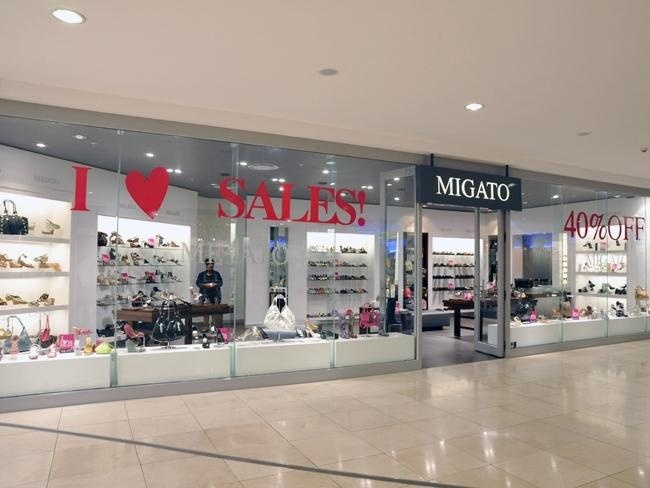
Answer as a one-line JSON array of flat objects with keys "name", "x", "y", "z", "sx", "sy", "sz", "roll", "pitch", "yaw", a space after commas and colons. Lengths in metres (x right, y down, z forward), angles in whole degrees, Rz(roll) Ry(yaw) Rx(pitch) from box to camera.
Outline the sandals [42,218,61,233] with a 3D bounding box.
[{"name": "sandals", "x": -3.835, "y": -0.262, "z": 6.682, "sx": 0.216, "sy": 0.213, "sz": 0.190, "roll": 1, "pitch": 6, "yaw": 19}]

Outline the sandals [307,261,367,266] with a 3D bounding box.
[{"name": "sandals", "x": 0.121, "y": 0.301, "z": 7.347, "sx": 0.606, "sy": 0.088, "sz": 0.021, "roll": 0, "pitch": 6, "yaw": -16}]

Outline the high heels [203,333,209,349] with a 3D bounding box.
[{"name": "high heels", "x": -1.638, "y": 1.327, "z": 6.571, "sx": 0.071, "sy": 0.205, "sz": 0.074, "roll": -1, "pitch": -6, "yaw": -28}]

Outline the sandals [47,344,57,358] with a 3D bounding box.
[{"name": "sandals", "x": -3.400, "y": 1.332, "z": 5.975, "sx": 0.061, "sy": 0.046, "sz": 0.166, "roll": 9, "pitch": 31, "yaw": -30}]

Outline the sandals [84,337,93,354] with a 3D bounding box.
[{"name": "sandals", "x": -3.021, "y": 1.303, "z": 6.141, "sx": 0.098, "sy": 0.191, "sz": 0.131, "roll": 0, "pitch": 4, "yaw": -8}]

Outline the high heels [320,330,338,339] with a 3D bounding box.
[{"name": "high heels", "x": 0.054, "y": 1.373, "z": 7.274, "sx": 0.185, "sy": 0.082, "sz": 0.142, "roll": 4, "pitch": -6, "yaw": -33}]

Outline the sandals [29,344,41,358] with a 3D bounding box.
[{"name": "sandals", "x": -3.593, "y": 1.327, "z": 5.926, "sx": 0.115, "sy": 0.132, "sz": 0.179, "roll": -2, "pitch": 5, "yaw": -29}]

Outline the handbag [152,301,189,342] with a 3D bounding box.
[{"name": "handbag", "x": -2.119, "y": 1.056, "z": 6.473, "sx": 0.510, "sy": 0.674, "sz": 0.199, "roll": 2, "pitch": -5, "yaw": -17}]

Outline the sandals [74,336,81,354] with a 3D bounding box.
[{"name": "sandals", "x": -3.159, "y": 1.291, "z": 6.120, "sx": 0.087, "sy": 0.205, "sz": 0.152, "roll": -1, "pitch": 5, "yaw": -28}]

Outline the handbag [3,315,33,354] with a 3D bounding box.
[{"name": "handbag", "x": -3.913, "y": 1.138, "z": 6.100, "sx": 0.494, "sy": 0.486, "sz": 0.307, "roll": -3, "pitch": -5, "yaw": 44}]

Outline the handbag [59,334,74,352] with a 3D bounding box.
[{"name": "handbag", "x": -3.290, "y": 1.265, "z": 6.070, "sx": 0.194, "sy": 0.246, "sz": 0.132, "roll": 2, "pitch": -11, "yaw": -28}]
